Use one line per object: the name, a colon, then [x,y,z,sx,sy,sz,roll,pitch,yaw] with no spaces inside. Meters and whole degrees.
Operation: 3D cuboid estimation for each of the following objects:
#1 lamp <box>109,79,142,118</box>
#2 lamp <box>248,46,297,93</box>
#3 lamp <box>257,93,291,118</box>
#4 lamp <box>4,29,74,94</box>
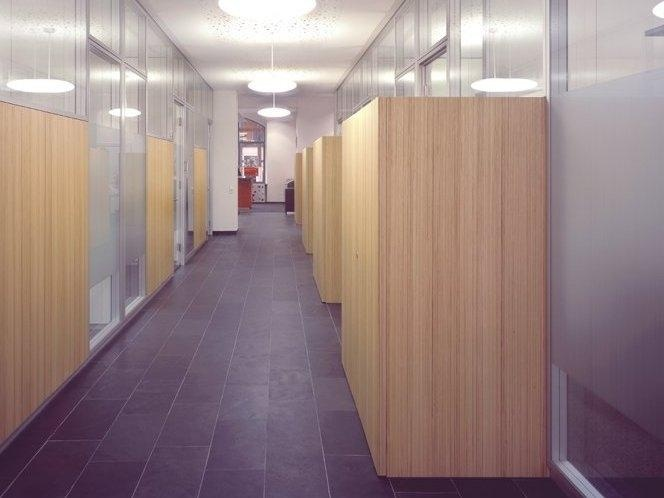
lamp: [-2.411,-1.728,5.973,0.338,0.389,0.379,4,11,6]
lamp: [-1.203,-3.588,10.074,0.945,1.091,1.057,4,12,14]
lamp: [-1.791,-4.445,15.813,0.820,0.968,0.907,14,19,37]
lamp: [-2.137,-1.341,3.811,0.422,0.468,0.454,5,4,39]
